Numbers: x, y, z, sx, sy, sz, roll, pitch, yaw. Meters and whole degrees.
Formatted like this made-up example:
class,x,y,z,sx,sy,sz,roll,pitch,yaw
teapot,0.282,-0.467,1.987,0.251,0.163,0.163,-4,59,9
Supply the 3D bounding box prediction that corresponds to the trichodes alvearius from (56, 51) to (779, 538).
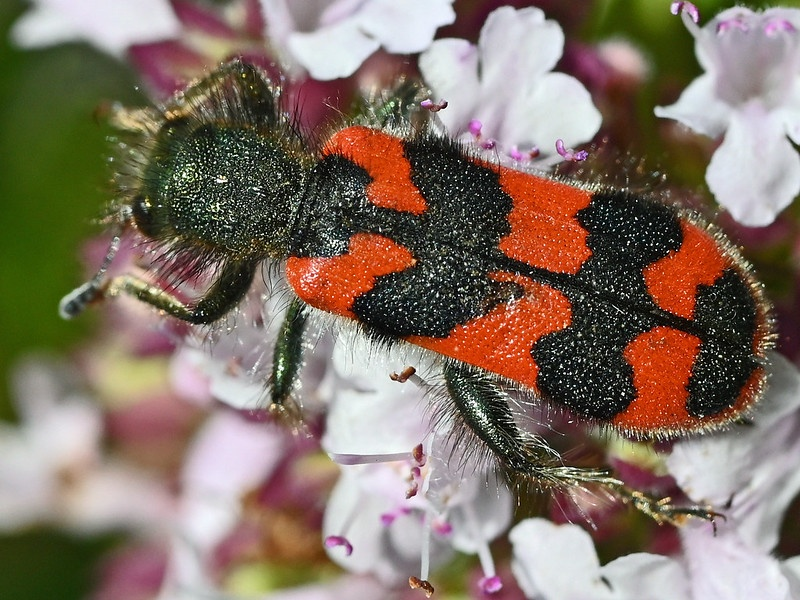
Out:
class,x,y,z,sx,sy,sz,roll,pitch,yaw
trichodes alvearius,0.067,-0.095,2.172,1.640,0.290,0.757,22,85,5
